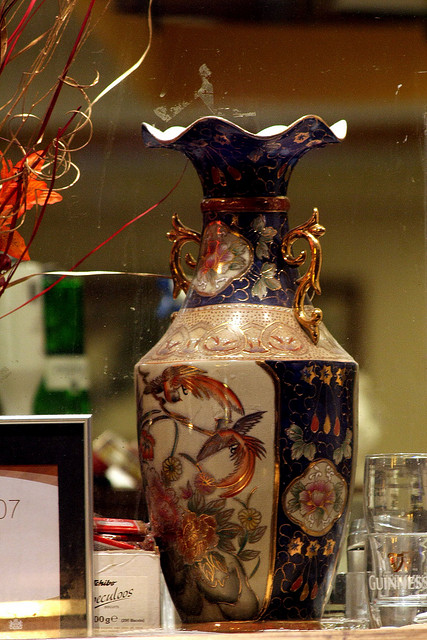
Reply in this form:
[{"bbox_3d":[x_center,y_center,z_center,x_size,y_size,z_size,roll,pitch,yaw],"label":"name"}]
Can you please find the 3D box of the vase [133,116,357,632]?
[{"bbox_3d":[0.036,0.037,0.988,0.235,0.566,0.184,1,-7,7],"label":"vase"}]
